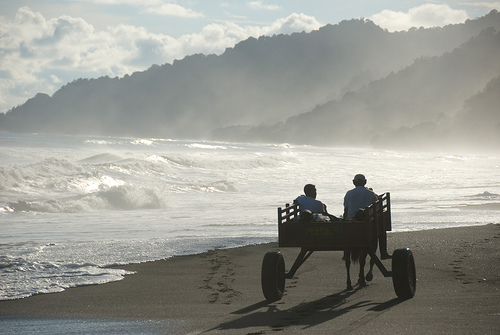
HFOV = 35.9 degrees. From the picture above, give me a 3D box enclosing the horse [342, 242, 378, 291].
[{"bbox_3d":[3.463,3.094,24.638,0.982,1.521,1.741,-1,1,6],"label":"horse"}]
